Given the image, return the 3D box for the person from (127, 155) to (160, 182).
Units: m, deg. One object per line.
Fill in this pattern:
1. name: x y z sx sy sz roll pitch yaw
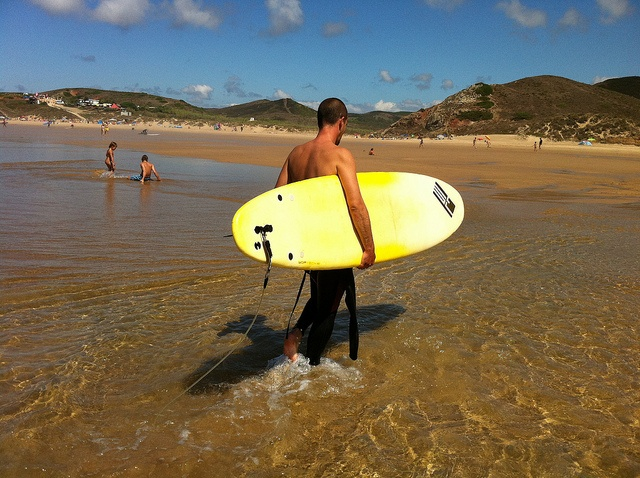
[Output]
1. person: -4.529 -1.842 13.308 0.780 0.600 0.996 -4 15 -37
